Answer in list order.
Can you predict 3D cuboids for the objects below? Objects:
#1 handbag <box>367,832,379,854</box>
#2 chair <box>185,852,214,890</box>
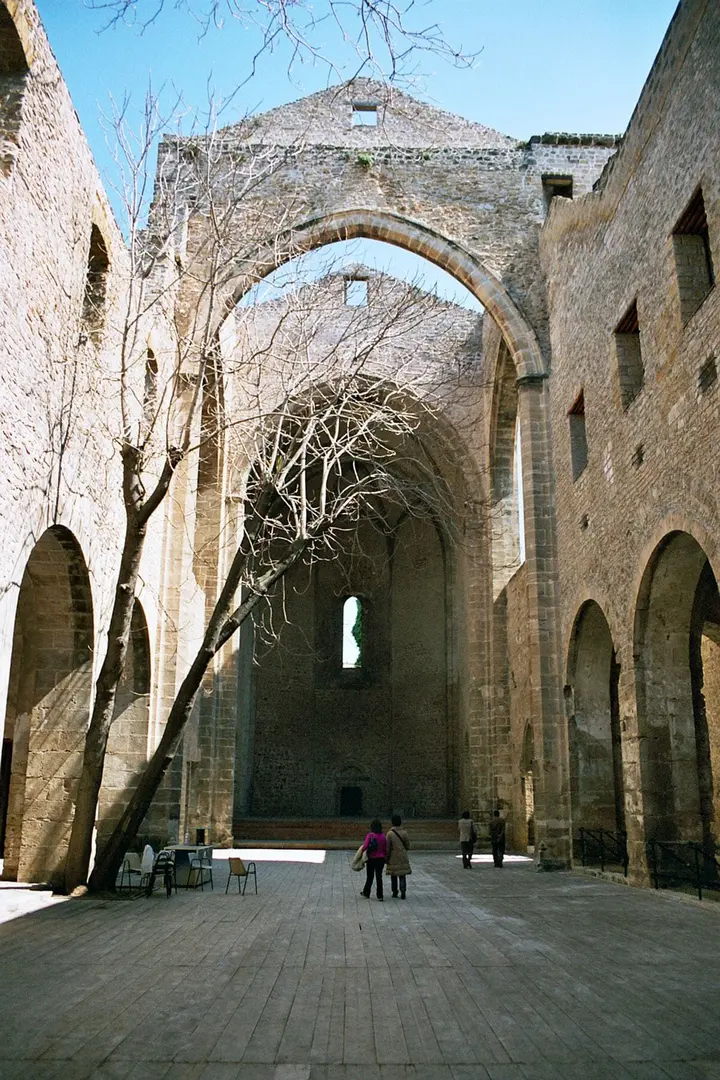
[{"bbox_3d":[0.156,3.688,9.469,0.173,0.266,0.132,-15,-25,36],"label":"handbag"},{"bbox_3d":[-2.132,4.395,10.535,0.307,0.469,1.103,2,-18,-6],"label":"chair"}]
